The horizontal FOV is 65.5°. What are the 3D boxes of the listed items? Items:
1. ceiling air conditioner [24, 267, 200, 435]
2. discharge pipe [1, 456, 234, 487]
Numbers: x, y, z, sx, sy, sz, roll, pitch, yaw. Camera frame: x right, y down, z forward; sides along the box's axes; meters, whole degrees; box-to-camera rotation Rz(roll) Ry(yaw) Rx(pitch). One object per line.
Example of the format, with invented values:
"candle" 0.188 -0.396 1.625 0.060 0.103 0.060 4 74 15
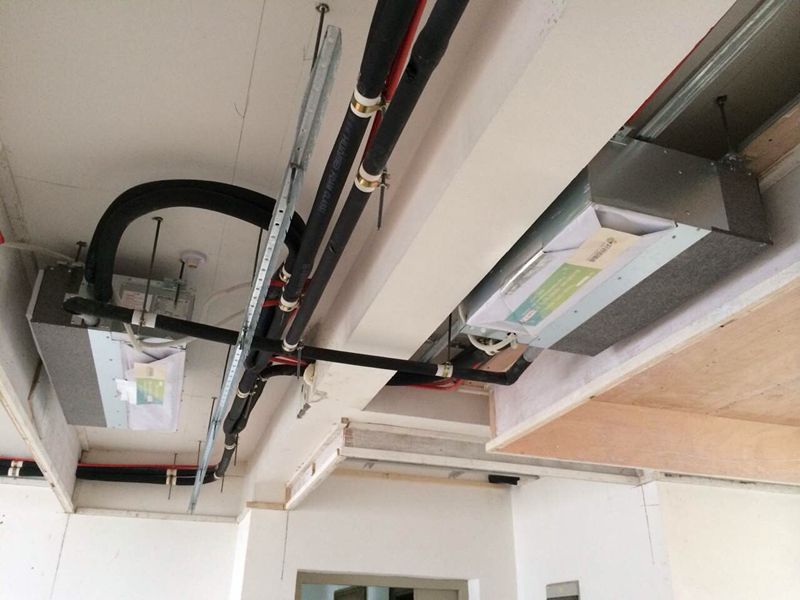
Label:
"ceiling air conditioner" -1.581 0.260 3.377 0.642 0.484 0.902 5 -29 3
"discharge pipe" -2.595 1.552 5.610 1.749 0.235 0.436 10 -20 -18
